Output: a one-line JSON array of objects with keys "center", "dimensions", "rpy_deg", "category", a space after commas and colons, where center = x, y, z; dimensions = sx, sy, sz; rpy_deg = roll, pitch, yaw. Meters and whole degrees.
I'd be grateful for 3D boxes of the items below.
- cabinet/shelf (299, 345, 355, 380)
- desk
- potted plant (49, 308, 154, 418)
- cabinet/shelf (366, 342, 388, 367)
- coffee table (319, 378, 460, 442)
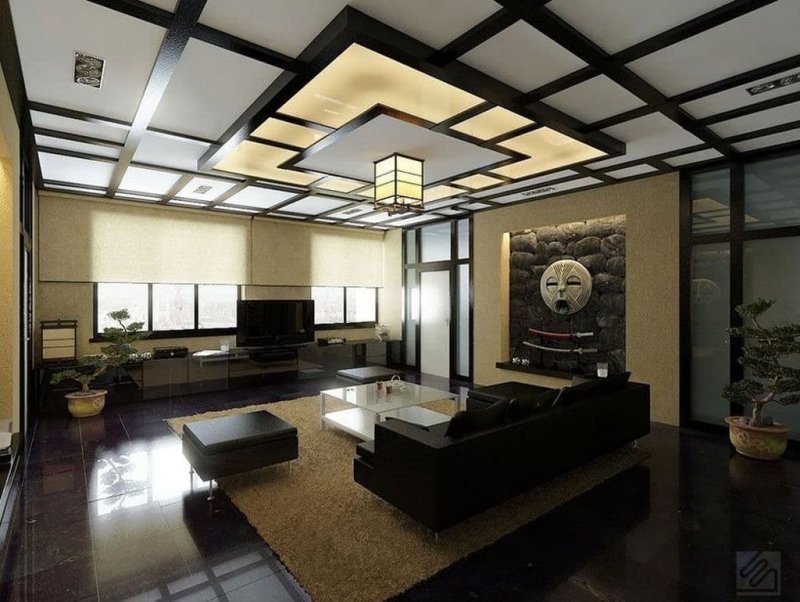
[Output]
[{"center": [-1.366, 1.078, 9.599], "dimensions": [1.133, 0.619, 0.164], "rpy_deg": [-10, 18, -38], "category": "cabinet/shelf"}, {"center": [-4.030, 0.909, 7.244], "dimensions": [0.839, 1.235, 0.918], "rpy_deg": [6, -7, -18], "category": "desk"}, {"center": [-4.240, 0.796, 7.532], "dimensions": [1.306, 1.608, 1.310], "rpy_deg": [6, 5, 38], "category": "potted plant"}, {"center": [-0.486, 1.016, 10.174], "dimensions": [0.491, 0.454, 0.253], "rpy_deg": [0, 2, -37], "category": "cabinet/shelf"}, {"center": [-0.258, 1.257, 6.452], "dimensions": [0.945, 0.430, 1.013], "rpy_deg": [1, -2, -39], "category": "coffee table"}]
